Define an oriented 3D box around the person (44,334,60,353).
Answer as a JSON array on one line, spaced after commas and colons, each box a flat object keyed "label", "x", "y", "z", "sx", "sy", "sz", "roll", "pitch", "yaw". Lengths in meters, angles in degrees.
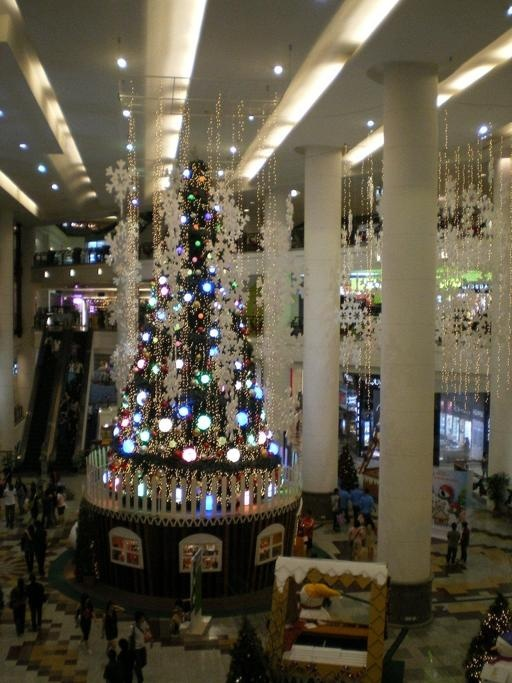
[{"label": "person", "x": -6.268, "y": 0.095, "z": 18.999, "sx": 0.406, "sy": 0.516, "sz": 0.856, "roll": 4, "pitch": -5, "yaw": -30}]
